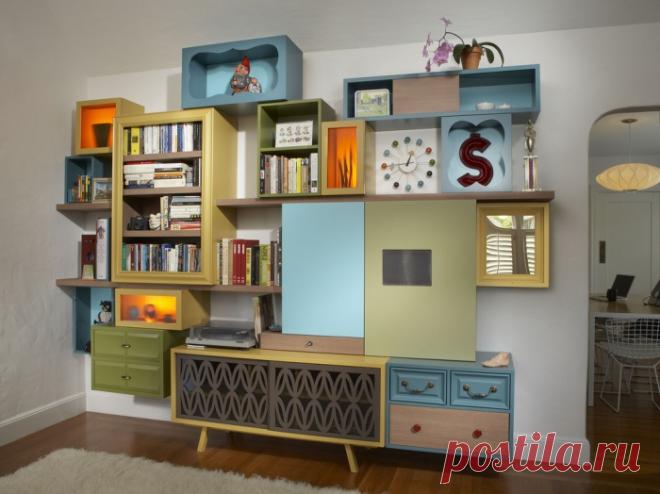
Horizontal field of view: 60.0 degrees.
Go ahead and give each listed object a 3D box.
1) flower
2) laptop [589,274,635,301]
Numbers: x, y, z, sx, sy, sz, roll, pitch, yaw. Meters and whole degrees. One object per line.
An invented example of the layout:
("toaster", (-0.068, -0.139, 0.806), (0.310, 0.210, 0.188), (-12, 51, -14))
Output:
("flower", (0.964, -1.467, 4.314), (0.588, 0.366, 0.364), (4, -1, 1))
("laptop", (3.295, 0.476, 6.620), (0.391, 0.256, 0.420), (-1, -3, 0))
